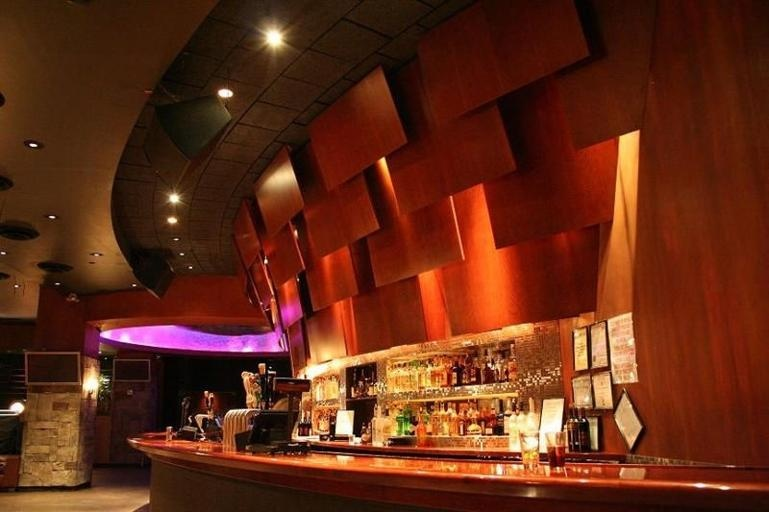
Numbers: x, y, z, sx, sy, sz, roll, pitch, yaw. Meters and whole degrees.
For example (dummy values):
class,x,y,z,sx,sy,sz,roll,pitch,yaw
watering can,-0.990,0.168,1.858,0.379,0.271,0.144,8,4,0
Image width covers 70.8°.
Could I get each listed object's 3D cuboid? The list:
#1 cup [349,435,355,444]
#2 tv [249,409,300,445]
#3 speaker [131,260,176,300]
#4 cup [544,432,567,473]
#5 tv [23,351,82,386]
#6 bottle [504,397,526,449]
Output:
class,x,y,z,sx,sy,sz,roll,pitch,yaw
cup,-0.382,2.182,6.394,0.061,0.124,0.065,1,-12,0
tv,-0.908,1.396,4.380,0.277,0.209,0.289,2,-4,-9
speaker,-4.081,0.317,9.585,0.340,0.673,0.892,-5,-21,10
cup,0.931,1.067,2.941,0.123,0.205,0.125,0,-10,0
tv,-6.553,2.207,10.729,0.956,0.739,0.100,4,12,-20
bottle,1.139,1.461,4.651,0.180,0.434,0.421,-5,-21,10
